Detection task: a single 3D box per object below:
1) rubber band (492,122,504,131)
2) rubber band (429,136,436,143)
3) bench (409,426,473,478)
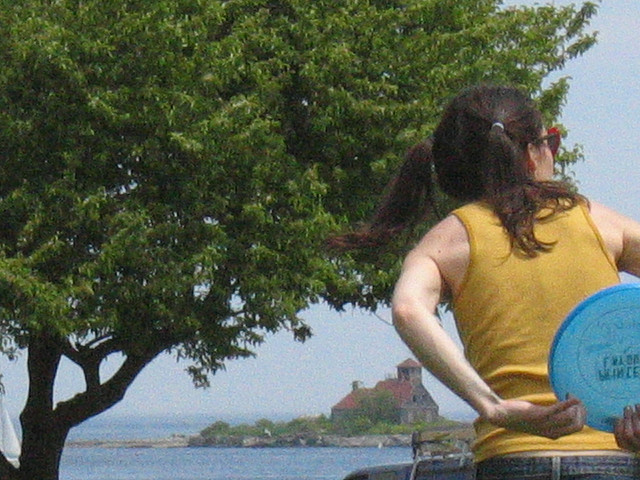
[{"bbox_3d":[5.270,-3.434,64.186,0.342,0.227,0.040,-6,-13,-5],"label":"rubber band"},{"bbox_3d":[3.341,-3.062,64.452,0.181,0.220,0.040,-12,-14,17],"label":"rubber band"},{"bbox_3d":[4.072,7.108,73.039,1.730,0.761,2.095,0,30,13],"label":"bench"}]
